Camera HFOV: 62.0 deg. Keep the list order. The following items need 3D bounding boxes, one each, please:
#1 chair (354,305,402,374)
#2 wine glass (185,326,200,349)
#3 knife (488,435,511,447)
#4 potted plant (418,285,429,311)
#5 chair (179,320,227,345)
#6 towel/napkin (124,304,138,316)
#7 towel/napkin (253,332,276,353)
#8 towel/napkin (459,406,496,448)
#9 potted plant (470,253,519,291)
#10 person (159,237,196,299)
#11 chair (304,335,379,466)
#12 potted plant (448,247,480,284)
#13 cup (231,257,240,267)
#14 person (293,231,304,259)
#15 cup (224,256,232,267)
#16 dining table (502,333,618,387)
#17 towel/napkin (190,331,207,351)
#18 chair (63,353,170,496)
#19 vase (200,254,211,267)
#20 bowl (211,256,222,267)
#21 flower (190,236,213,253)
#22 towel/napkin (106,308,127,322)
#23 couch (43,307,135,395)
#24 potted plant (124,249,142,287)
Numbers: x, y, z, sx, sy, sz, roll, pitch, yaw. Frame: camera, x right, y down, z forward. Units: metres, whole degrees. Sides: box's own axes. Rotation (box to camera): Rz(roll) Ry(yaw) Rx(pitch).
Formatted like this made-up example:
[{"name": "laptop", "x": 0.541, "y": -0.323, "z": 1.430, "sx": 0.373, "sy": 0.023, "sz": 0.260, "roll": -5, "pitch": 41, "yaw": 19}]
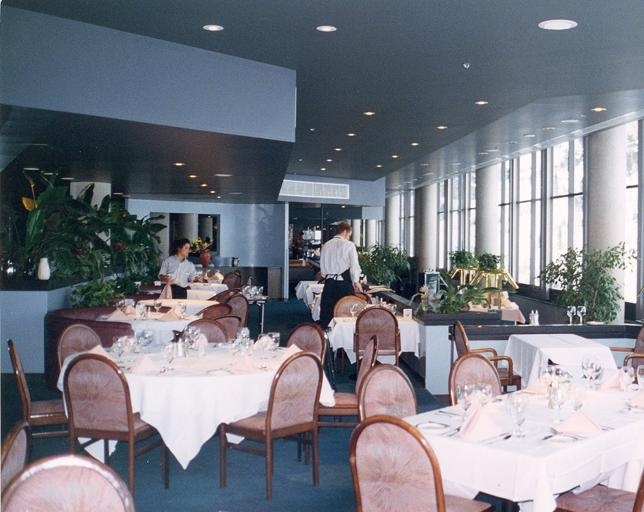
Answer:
[{"name": "chair", "x": 0.621, "y": 1.099, "z": 5.986, "sx": 0.581, "sy": 0.532, "sz": 0.871, "roll": 0, "pitch": 44, "yaw": 6}, {"name": "wine glass", "x": -1.055, "y": 0.670, "z": 4.317, "sx": 0.148, "sy": 0.195, "sz": 0.148, "roll": 1, "pitch": -3, "yaw": -19}, {"name": "knife", "x": 0.848, "y": 0.886, "z": 2.571, "sx": 0.041, "sy": 0.024, "sz": 0.244, "roll": 1, "pitch": -2, "yaw": 37}, {"name": "potted plant", "x": 1.224, "y": 0.504, "z": 6.432, "sx": 0.105, "sy": 0.268, "sz": 0.418, "roll": 1, "pitch": 2, "yaw": 9}, {"name": "chair", "x": -1.032, "y": 0.690, "z": 4.854, "sx": 0.272, "sy": 0.205, "sz": 0.269, "roll": 1, "pitch": 2, "yaw": -7}, {"name": "towel/napkin", "x": -2.210, "y": 0.628, "z": 6.191, "sx": 0.123, "sy": 0.041, "sz": 0.123, "roll": 21, "pitch": 17, "yaw": -12}, {"name": "towel/napkin", "x": -0.469, "y": 0.708, "z": 4.378, "sx": 0.149, "sy": 0.145, "sz": 0.150, "roll": 0, "pitch": 2, "yaw": -35}, {"name": "towel/napkin", "x": 0.769, "y": 0.827, "z": 2.657, "sx": 0.175, "sy": 0.170, "sz": 0.129, "roll": 1, "pitch": 6, "yaw": -38}, {"name": "potted plant", "x": 3.186, "y": 0.298, "z": 9.898, "sx": 0.830, "sy": 0.830, "sz": 0.842, "roll": -1, "pitch": 2, "yaw": 6}, {"name": "person", "x": -2.192, "y": 0.210, "z": 8.070, "sx": 0.509, "sy": 0.922, "sz": 0.811, "roll": 0, "pitch": 3, "yaw": -15}, {"name": "chair", "x": 0.144, "y": 1.082, "z": 4.244, "sx": 0.500, "sy": 0.828, "sz": 0.475, "roll": 3, "pitch": -2, "yaw": 20}, {"name": "potted plant", "x": 3.233, "y": 0.266, "z": 12.284, "sx": 0.507, "sy": 0.798, "sz": 0.545, "roll": -11, "pitch": 6, "yaw": -38}, {"name": "cup", "x": -2.552, "y": 0.192, "z": 15.592, "sx": 0.204, "sy": 0.339, "sz": 0.457, "roll": 1, "pitch": 2, "yaw": -4}, {"name": "person", "x": -0.965, "y": -0.375, "z": 20.747, "sx": 0.450, "sy": 0.979, "sz": 1.413, "roll": 1, "pitch": 2, "yaw": -3}, {"name": "cup", "x": -2.751, "y": 0.186, "z": 15.506, "sx": 0.236, "sy": 0.260, "sz": 0.314, "roll": 0, "pitch": 2, "yaw": -15}, {"name": "dining table", "x": 2.178, "y": 0.920, "z": 4.991, "sx": 0.697, "sy": 0.304, "sz": 1.159, "roll": -1, "pitch": -5, "yaw": -1}, {"name": "towel/napkin", "x": -0.985, "y": 0.701, "z": 4.360, "sx": 0.133, "sy": 0.129, "sz": 0.132, "roll": -3, "pitch": 4, "yaw": -34}, {"name": "chair", "x": -1.370, "y": 1.101, "z": 3.582, "sx": 0.609, "sy": 0.908, "sz": 0.635, "roll": -3, "pitch": -4, "yaw": 36}, {"name": "vase", "x": -3.194, "y": 0.141, "z": 14.597, "sx": 0.277, "sy": 0.400, "sz": 0.385, "roll": 0, "pitch": 3, "yaw": -16}, {"name": "bowl", "x": -3.042, "y": 0.175, "z": 15.418, "sx": 0.272, "sy": 0.210, "sz": 0.239, "roll": -2, "pitch": 3, "yaw": -32}, {"name": "flower", "x": -3.573, "y": -0.294, "z": 15.878, "sx": 0.523, "sy": 0.392, "sz": 0.523, "roll": -8, "pitch": 4, "yaw": -29}, {"name": "towel/napkin", "x": -2.316, "y": 0.681, "z": 6.059, "sx": 0.218, "sy": 0.098, "sz": 0.369, "roll": 0, "pitch": 2, "yaw": -23}, {"name": "couch", "x": -2.694, "y": 1.013, "z": 6.290, "sx": 0.985, "sy": 0.761, "sz": 0.994, "roll": 8, "pitch": 9, "yaw": 39}, {"name": "potted plant", "x": -3.464, "y": 0.221, "z": 9.781, "sx": 0.238, "sy": 0.596, "sz": 1.141, "roll": 0, "pitch": 2, "yaw": -18}]
